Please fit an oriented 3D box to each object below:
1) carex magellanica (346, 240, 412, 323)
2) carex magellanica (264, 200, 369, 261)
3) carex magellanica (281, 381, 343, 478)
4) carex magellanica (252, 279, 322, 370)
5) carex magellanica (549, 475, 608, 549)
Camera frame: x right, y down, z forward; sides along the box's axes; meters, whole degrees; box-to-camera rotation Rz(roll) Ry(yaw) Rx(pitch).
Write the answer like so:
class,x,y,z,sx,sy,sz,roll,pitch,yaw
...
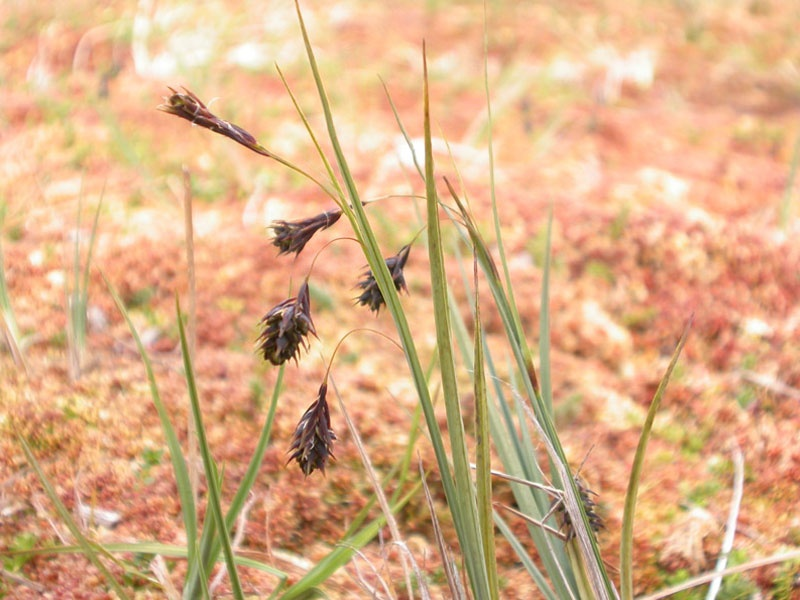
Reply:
class,x,y,z,sx,sy,sz,roll,pitch,yaw
carex magellanica,-0.048,-0.089,3.112,0.248,0.141,0.163,-58,-14,-9
carex magellanica,-0.263,-0.213,3.067,0.297,0.150,0.134,-28,-50,-8
carex magellanica,-0.267,0.439,3.072,0.181,0.182,0.326,19,-62,2
carex magellanica,-0.339,0.074,3.034,0.154,0.288,0.177,12,-8,27
carex magellanica,0.584,0.698,3.165,0.150,0.227,0.070,-7,-9,23
